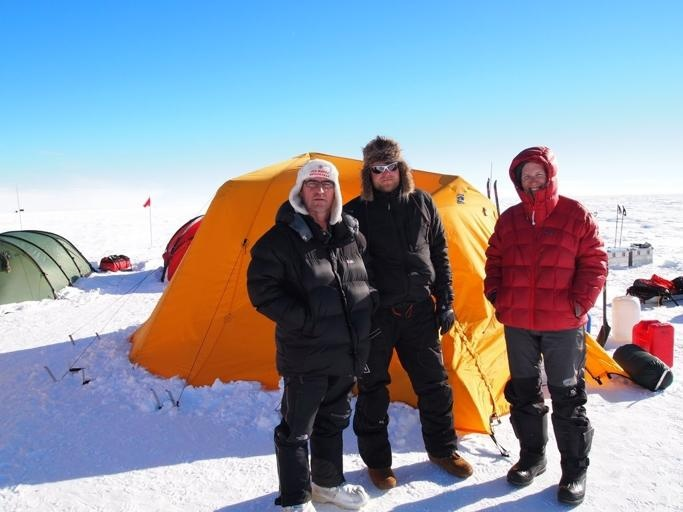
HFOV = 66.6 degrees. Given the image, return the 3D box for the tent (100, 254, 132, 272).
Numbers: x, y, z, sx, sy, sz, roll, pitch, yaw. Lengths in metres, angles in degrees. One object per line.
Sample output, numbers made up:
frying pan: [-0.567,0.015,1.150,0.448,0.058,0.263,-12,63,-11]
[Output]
tent: [-6.587,0.234,15.187,0.512,0.262,0.694,0,-2,14]

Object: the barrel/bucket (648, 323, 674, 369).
barrel/bucket: [4.308,1.202,6.978,0.288,0.559,0.381,2,11,30]

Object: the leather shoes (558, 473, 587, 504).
leather shoes: [2.092,2.124,4.709,0.284,0.226,0.179,-2,9,5]

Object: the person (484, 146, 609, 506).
person: [1.849,0.610,4.837,1.050,3.212,0.831,1,11,26]
